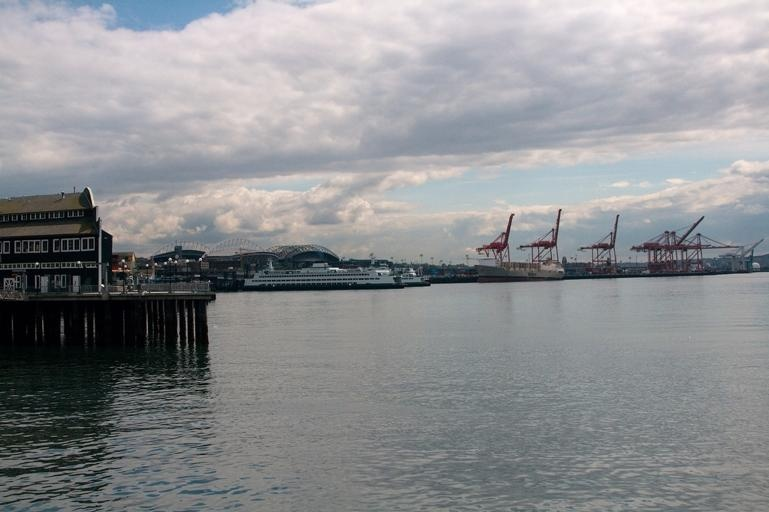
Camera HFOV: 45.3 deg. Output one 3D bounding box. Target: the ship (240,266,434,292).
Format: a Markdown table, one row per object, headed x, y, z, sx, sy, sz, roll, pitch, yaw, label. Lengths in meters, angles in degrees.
| x | y | z | sx | sy | sz | roll | pitch | yaw | label |
| --- | --- | --- | --- | --- | --- | --- | --- | --- | --- |
| -15.352 | 6.788 | 262.926 | 40.703 | 4.929 | 7.721 | -1 | 1 | -2 | ship |
